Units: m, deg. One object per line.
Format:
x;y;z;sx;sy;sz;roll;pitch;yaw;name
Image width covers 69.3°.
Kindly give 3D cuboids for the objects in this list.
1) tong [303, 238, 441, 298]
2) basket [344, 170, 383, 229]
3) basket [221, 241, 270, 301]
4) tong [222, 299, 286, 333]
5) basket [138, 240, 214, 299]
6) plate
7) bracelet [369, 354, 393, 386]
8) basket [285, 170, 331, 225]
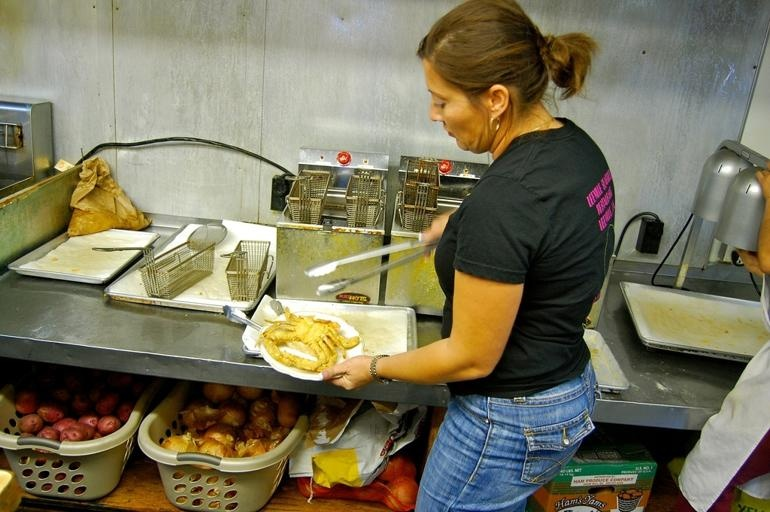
-0.051;0.037;2.091;0.454;0.047;0.099;-20;-17;-18;tong
-0.096;-0.246;2.354;0.136;0.116;0.272;1;37;1;basket
-0.575;0.035;2.384;0.158;0.164;0.292;2;30;-3;basket
-0.502;0.193;2.102;0.154;0.062;0.272;17;-30;-15;tong
-0.844;0.050;2.359;0.178;0.208;0.306;16;32;25;basket
-0.275;0.310;1.971;0.337;0.062;0.358;-6;33;-26;plate
-0.024;0.338;1.713;0.094;0.101;0.039;2;38;3;bracelet
-0.284;-0.210;2.344;0.148;0.105;0.300;9;14;12;basket
